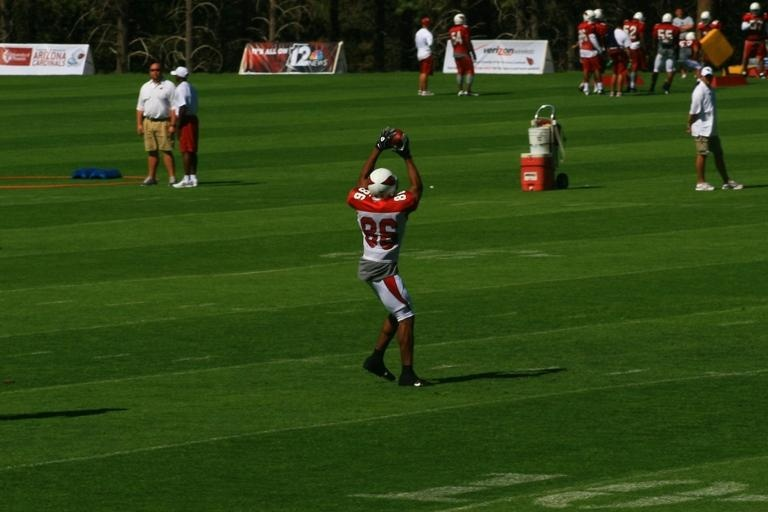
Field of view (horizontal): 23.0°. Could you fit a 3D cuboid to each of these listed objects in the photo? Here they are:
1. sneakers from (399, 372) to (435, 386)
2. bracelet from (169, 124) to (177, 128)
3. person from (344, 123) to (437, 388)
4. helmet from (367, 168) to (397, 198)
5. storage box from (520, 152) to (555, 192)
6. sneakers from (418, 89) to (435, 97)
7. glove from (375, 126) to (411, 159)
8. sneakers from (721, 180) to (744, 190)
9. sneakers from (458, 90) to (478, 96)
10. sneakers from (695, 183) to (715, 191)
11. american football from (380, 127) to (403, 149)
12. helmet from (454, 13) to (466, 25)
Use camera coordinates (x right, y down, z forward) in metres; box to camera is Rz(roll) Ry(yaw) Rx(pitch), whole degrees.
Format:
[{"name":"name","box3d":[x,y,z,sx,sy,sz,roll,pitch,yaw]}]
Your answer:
[{"name":"sneakers","box3d":[0.450,1.659,25.144,0.516,0.168,0.150,-2,-2,8]},{"name":"bracelet","box3d":[-4.018,-2.481,35.883,0.102,0.065,0.098,-30,38,-26]},{"name":"person","box3d":[0.072,0.021,25.165,1.033,3.424,0.593,2,10,16]},{"name":"helmet","box3d":[0.019,-1.012,25.063,0.360,0.329,0.416,7,42,11]},{"name":"storage box","box3d":[3.041,-1.607,36.156,1.124,0.708,0.984,2,2,7]},{"name":"sneakers","box3d":[1.087,-4.263,49.171,0.469,0.153,0.145,-2,20,-12]},{"name":"glove","box3d":[0.174,-1.548,24.993,0.494,0.218,0.338,32,-24,4]},{"name":"sneakers","box3d":[6.488,-1.323,35.352,0.404,0.138,0.162,0,5,2]},{"name":"sneakers","box3d":[2.145,-4.244,49.123,0.563,0.188,0.176,2,3,-4]},{"name":"sneakers","box3d":[6.024,-1.303,35.316,0.456,0.147,0.137,-1,10,-8]},{"name":"american football","box3d":[0.128,-1.573,25.022,0.326,0.254,0.239,-1,-40,-40]},{"name":"helmet","box3d":[1.930,-6.118,48.206,0.359,0.252,0.371,2,-26,-11]}]
